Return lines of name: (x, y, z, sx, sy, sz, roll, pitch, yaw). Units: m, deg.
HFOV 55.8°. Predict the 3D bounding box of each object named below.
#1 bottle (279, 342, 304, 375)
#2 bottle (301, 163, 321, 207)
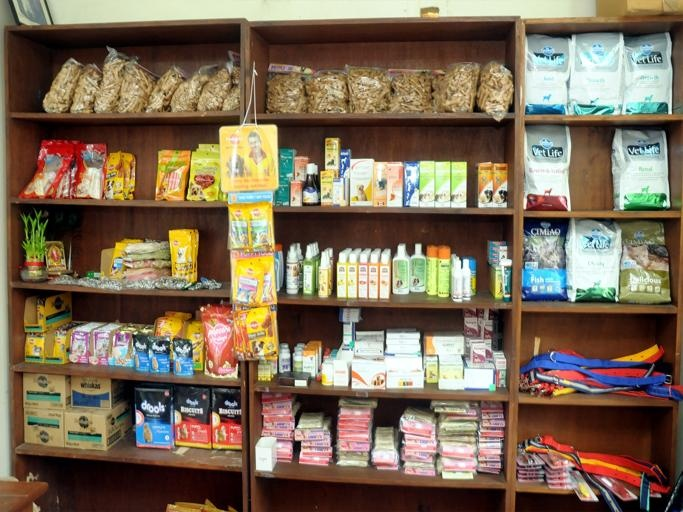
bottle: (-0.318, 0.636, 3.961, 0.201, 0.201, 0.112, 0, 2, 1)
bottle: (-0.187, -0.422, 3.911, 0.105, 0.210, 0.269, -1, 1, -2)
